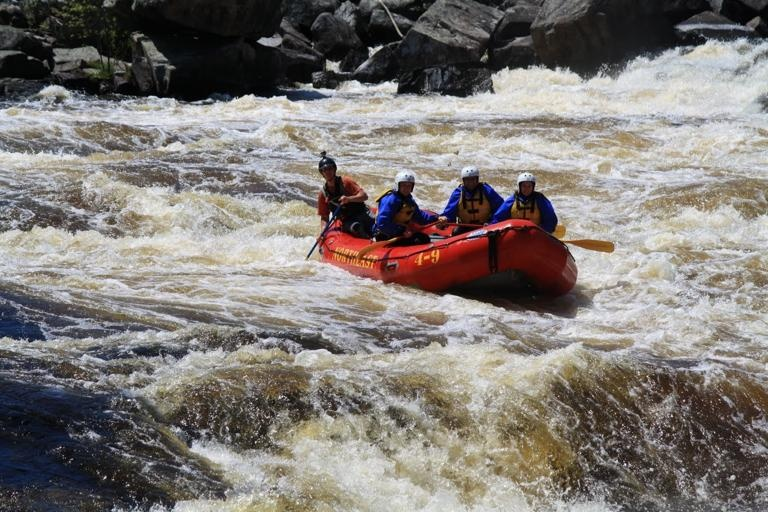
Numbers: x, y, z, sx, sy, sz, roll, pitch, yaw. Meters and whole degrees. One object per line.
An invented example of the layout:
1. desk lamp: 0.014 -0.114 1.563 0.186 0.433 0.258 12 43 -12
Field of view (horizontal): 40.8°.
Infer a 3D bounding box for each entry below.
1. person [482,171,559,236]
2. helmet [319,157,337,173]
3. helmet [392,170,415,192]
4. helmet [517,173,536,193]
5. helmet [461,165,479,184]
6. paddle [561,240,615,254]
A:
1. person: 2.426 -0.832 18.050 1.252 1.069 0.814 2 10 9
2. helmet: -1.039 -1.657 18.798 0.286 0.288 0.318 6 18 -5
3. helmet: 0.348 -1.321 18.247 0.329 0.326 0.400 0 -4 -7
4. helmet: 2.450 -1.273 18.065 0.332 0.360 0.409 0 -7 -1
5. helmet: 1.517 -1.421 18.239 0.272 0.349 0.271 -2 45 6
6. paddle: 3.571 -0.178 18.162 0.861 0.135 0.038 12 26 7
